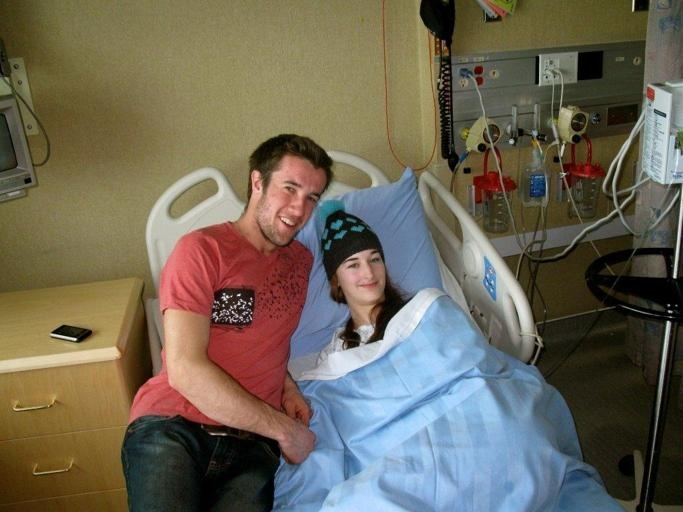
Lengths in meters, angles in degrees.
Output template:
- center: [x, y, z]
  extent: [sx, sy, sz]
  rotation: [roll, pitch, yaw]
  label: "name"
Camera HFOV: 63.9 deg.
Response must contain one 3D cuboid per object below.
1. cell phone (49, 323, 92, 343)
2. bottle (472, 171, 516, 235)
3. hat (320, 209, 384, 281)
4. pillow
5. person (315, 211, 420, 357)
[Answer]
- center: [-1.147, 0.321, 2.300]
  extent: [0.175, 0.059, 0.114]
  rotation: [-3, 13, 27]
  label: "cell phone"
- center: [0.836, -0.304, 3.033]
  extent: [0.203, 0.332, 0.235]
  rotation: [-13, 28, -7]
  label: "bottle"
- center: [0.010, -0.109, 2.477]
  extent: [0.175, 0.204, 0.237]
  rotation: [10, 9, 35]
  label: "hat"
- center: [0.135, 0.055, 2.900]
  extent: [0.567, 0.931, 0.385]
  rotation: [-9, -7, -1]
  label: "pillow"
- center: [0.055, 0.127, 2.468]
  extent: [0.417, 0.756, 0.335]
  rotation: [6, -28, -31]
  label: "person"
